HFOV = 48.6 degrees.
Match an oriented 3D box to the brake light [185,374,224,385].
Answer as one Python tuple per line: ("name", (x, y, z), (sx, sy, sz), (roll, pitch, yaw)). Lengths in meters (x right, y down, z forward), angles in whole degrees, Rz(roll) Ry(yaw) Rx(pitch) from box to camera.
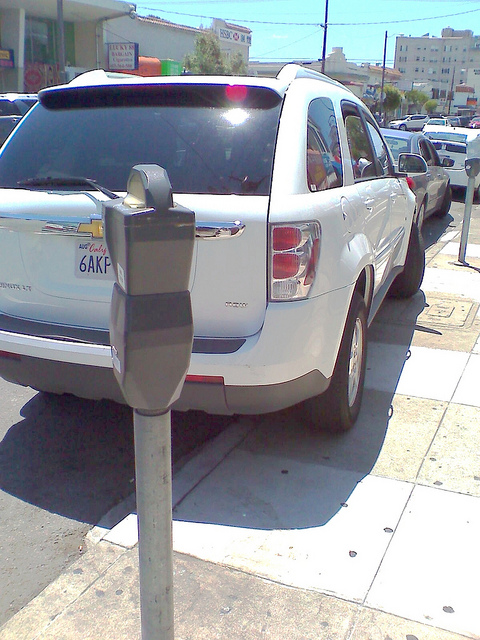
("brake light", (-0.130, 0.224, 2.011), (0.102, 0.036, 0.023), (5, 19, 4))

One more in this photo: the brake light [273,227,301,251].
("brake light", (0.171, -0.296, 1.946), (0.118, 0.082, 0.012), (-7, 11, -28))

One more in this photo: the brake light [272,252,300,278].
("brake light", (0.166, -0.199, 1.960), (0.061, 0.056, 0.099), (-3, 3, -11))

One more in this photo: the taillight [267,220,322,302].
("taillight", (0.198, -0.220, 1.975), (0.173, 0.319, 0.064), (-3, 9, -25))

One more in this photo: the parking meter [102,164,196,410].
("parking meter", (-0.131, -0.037, 0.765), (0.119, 0.358, 0.131), (8, 11, 33))
